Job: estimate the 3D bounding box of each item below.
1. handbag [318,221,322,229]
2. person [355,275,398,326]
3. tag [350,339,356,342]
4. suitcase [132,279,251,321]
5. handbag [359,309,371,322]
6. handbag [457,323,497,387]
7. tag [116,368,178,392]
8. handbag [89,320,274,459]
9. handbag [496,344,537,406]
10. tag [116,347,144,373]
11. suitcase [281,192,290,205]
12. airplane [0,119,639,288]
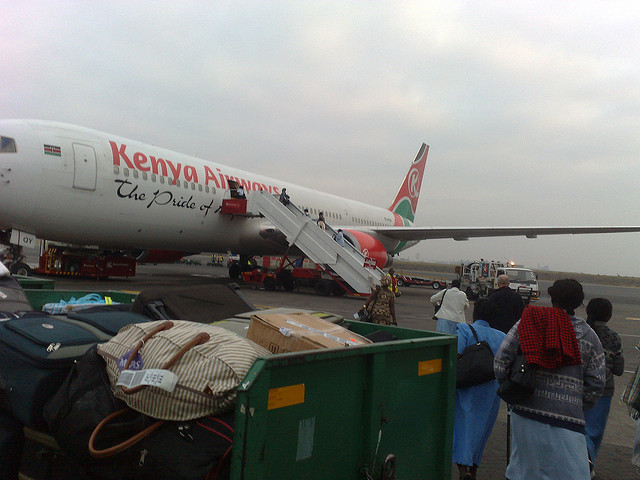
[{"bbox_3d":[0.011,-0.725,19.238,0.214,0.287,0.475,9,3,-2],"label":"handbag"},{"bbox_3d":[1.320,1.254,8.926,0.588,1.017,0.843,9,3,-11],"label":"person"},{"bbox_3d":[0.242,0.727,3.096,0.029,0.006,0.020,3,1,-43],"label":"tag"},{"bbox_3d":[-1.597,0.613,4.517,1.151,0.369,1.454,4,-2,-43],"label":"suitcase"},{"bbox_3d":[0.999,1.634,9.234,0.236,0.247,0.291,-2,4,0],"label":"handbag"},{"bbox_3d":[1.513,1.199,4.095,0.342,0.579,0.212,10,3,13],"label":"handbag"},{"bbox_3d":[-0.933,0.745,2.298,0.386,0.109,0.092,-3,-32,32],"label":"tag"},{"bbox_3d":[-0.809,0.627,2.638,0.785,0.224,0.825,19,15,8],"label":"handbag"},{"bbox_3d":[1.569,1.081,3.341,0.257,0.512,0.186,11,3,23],"label":"handbag"},{"bbox_3d":[-1.083,0.682,2.433,0.147,0.139,0.043,-5,-24,39],"label":"tag"},{"bbox_3d":[-1.464,-1.771,18.501,0.396,0.419,0.665,9,3,5],"label":"suitcase"},{"bbox_3d":[-3.841,-0.561,16.698,11.625,3.106,12.580,1,-1,42],"label":"airplane"}]
